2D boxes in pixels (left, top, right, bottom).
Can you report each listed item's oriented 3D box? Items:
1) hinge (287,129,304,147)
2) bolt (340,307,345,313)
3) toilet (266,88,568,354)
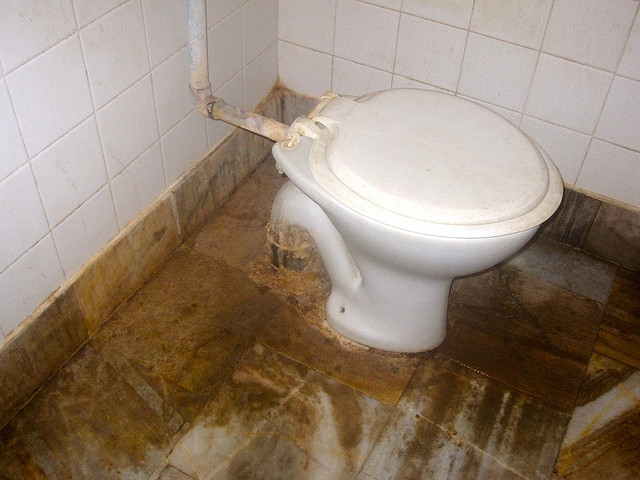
[{"bbox_3d":[-0.058,-0.243,1.250,0.028,0.042,0.010,38,14,11],"label":"hinge"},{"bbox_3d":[0.062,0.190,1.439,0.011,0.003,0.012,22,85,13],"label":"bolt"},{"bbox_3d":[0.183,-0.014,1.415,0.700,0.624,0.532,32,50,28],"label":"toilet"}]
